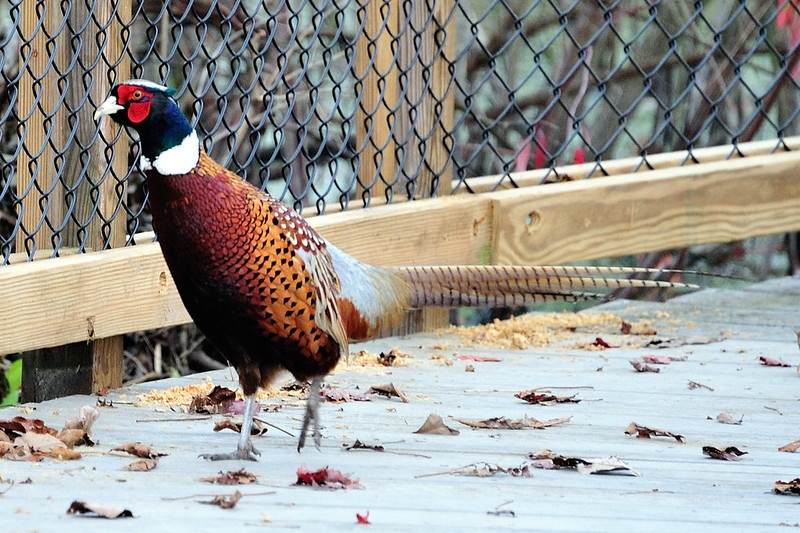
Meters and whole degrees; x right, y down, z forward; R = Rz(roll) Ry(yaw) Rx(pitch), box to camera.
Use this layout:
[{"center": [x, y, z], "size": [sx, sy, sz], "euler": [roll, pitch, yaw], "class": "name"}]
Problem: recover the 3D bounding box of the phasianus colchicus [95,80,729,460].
[{"center": [-0.276, -0.044, 5.023], "size": [1.428, 1.217, 0.600], "euler": [-7, 15, -30], "class": "phasianus colchicus"}]
